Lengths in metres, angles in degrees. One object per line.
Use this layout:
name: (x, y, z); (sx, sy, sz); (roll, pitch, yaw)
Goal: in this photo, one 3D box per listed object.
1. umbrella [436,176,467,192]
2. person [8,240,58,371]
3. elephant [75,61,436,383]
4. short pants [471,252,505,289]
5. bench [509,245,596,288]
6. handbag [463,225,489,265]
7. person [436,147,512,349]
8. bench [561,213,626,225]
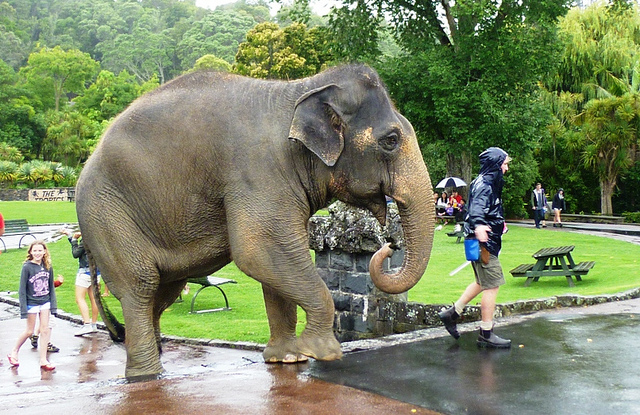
umbrella: (5.995, -1.143, 25.437); (0.815, 0.628, 0.780); (-2, -7, 5)
person: (-4.410, 1.481, 8.672); (0.687, 1.893, 0.677); (1, 4, 6)
elephant: (-0.828, 0.188, 6.903); (4.342, 3.325, 1.757); (-5, -7, 9)
short pants: (2.278, 0.851, 7.588); (0.409, 0.522, 0.242); (2, 4, 14)
bench: (5.391, 1.580, 13.089); (1.387, 0.648, 1.430); (-2, 3, 14)
handbag: (2.083, 0.494, 7.544); (0.376, 0.514, 0.280); (4, 5, 34)
person: (2.204, 0.496, 7.640); (0.915, 2.660, 0.666); (2, 4, 12)
bench: (16.153, 0.580, 33.123); (3.243, 0.306, 0.720); (4, 5, 40)
